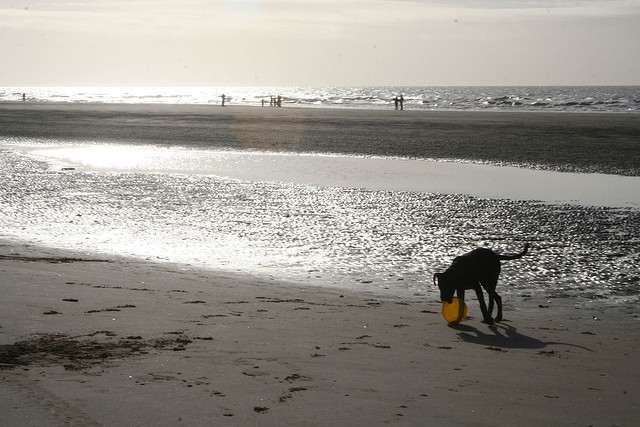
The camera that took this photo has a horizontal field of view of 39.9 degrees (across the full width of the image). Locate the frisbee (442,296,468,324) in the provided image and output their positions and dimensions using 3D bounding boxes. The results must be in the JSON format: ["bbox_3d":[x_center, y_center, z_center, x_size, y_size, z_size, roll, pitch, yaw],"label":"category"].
[{"bbox_3d":[2.213,1.622,14.917,0.273,0.405,0.230,5,5,3],"label":"frisbee"}]
